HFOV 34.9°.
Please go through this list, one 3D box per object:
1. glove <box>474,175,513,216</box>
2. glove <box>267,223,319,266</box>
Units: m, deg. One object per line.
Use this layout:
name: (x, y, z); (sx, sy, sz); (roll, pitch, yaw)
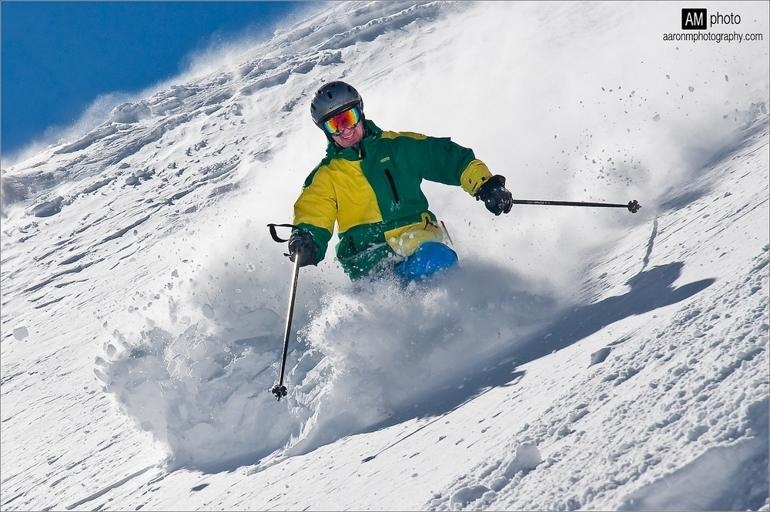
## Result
glove: (2.450, -1.300, 26.197); (0.619, 0.876, 0.389); (-49, -26, 22)
glove: (-1.708, -0.204, 25.741); (0.363, 0.625, 0.859); (-14, 26, 39)
